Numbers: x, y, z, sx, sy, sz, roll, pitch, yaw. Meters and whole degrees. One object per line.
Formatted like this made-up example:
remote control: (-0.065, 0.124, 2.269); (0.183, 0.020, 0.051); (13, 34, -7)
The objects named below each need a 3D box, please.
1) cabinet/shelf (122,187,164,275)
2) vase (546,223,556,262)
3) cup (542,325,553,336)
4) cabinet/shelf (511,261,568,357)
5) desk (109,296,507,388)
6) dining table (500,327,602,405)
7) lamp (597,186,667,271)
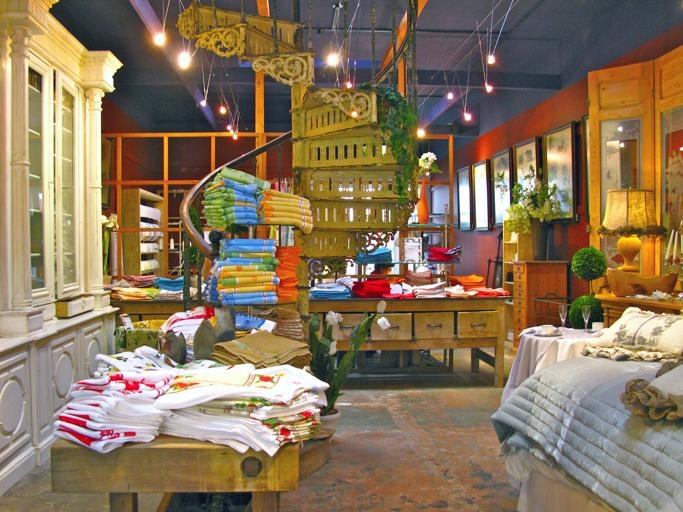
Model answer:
cabinet/shelf: (-3.333, -0.381, 9.562); (0.409, 1.471, 1.508); (0, 2, -3)
vase: (3.028, -0.205, 8.318); (0.080, 0.511, 0.201); (1, 6, 19)
cup: (1.646, 0.594, 4.586); (0.082, 0.063, 0.067); (-4, -5, 29)
cabinet/shelf: (2.717, 0.695, 7.864); (0.801, 1.220, 0.827); (-2, 0, 34)
desk: (0.125, 0.824, 7.128); (4.881, 1.089, 2.714); (-1, 5, -3)
dining table: (1.819, 0.847, 4.666); (0.758, 0.524, 0.864); (-7, -6, -23)
lamp: (2.888, -0.295, 6.025); (0.721, 0.906, 0.713); (-3, 4, -32)
